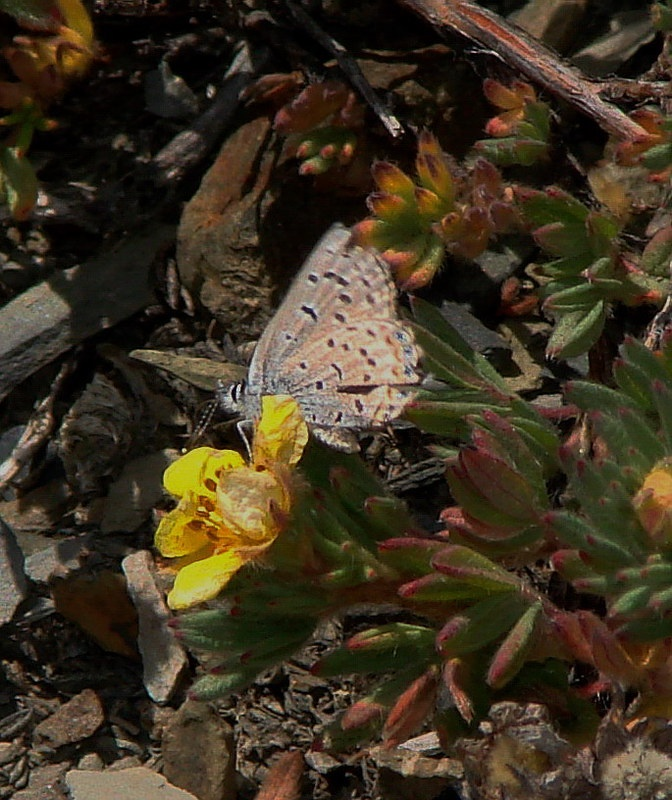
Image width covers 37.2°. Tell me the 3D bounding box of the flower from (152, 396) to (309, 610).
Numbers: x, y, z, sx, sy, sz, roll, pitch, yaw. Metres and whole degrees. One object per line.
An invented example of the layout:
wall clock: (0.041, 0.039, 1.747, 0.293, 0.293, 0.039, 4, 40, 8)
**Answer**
flower: (-0.204, 0.272, 2.410, 0.347, 0.161, 0.443, 21, 20, -18)
